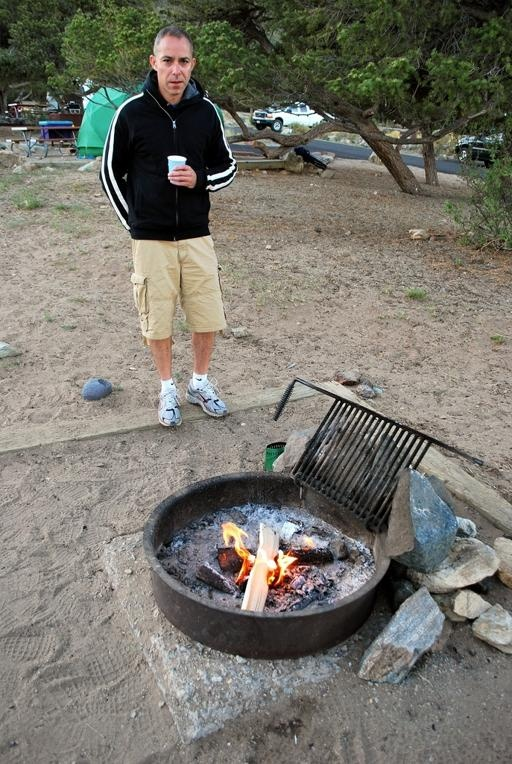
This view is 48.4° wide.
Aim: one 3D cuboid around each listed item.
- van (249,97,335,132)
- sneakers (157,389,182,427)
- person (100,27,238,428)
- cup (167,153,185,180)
[{"bbox_3d":[1.308,-11.745,25.497,2.179,1.112,4.187,6,21,23],"label":"van"},{"bbox_3d":[-0.519,0.155,3.433,0.097,0.121,0.258,-1,27,-12],"label":"sneakers"},{"bbox_3d":[-0.455,-0.754,3.191,0.536,2.123,0.641,7,21,27],"label":"person"},{"bbox_3d":[-0.393,-1.063,2.792,0.081,0.089,0.129,-5,19,-8],"label":"cup"}]
